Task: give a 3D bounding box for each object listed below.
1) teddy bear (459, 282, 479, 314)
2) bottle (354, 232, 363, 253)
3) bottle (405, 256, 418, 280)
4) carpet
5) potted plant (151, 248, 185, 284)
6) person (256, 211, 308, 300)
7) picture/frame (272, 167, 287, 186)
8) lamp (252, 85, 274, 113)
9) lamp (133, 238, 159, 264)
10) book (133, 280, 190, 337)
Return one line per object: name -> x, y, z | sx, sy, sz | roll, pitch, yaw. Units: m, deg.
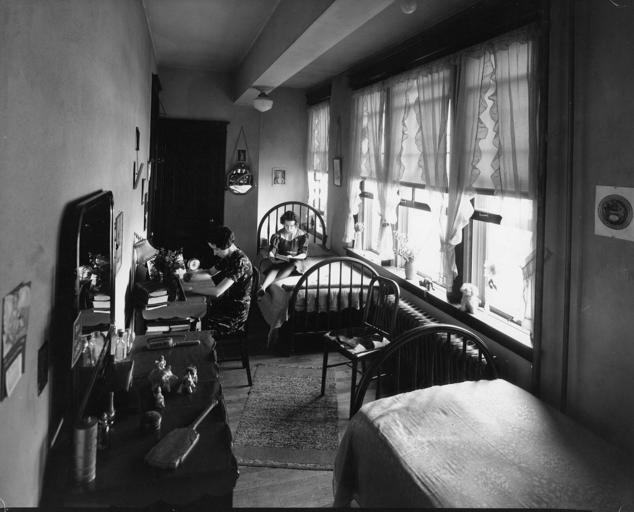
teddy bear -> 0.940, 0.265, 2.909 | 0.109, 0.185, 0.155 | 2, -7, 44
bottle -> 0.417, -0.155, 4.778 | 0.092, 0.206, 0.123 | 2, 8, 6
bottle -> 0.721, 0.093, 3.662 | 0.078, 0.190, 0.055 | 3, 8, 15
carpet -> -0.171, 0.987, 2.871 | 0.618, 0.030, 0.990 | 2, 10, -1
potted plant -> -1.069, 0.067, 3.419 | 0.223, 0.283, 0.192 | -1, -3, -9
person -> -0.329, -0.044, 4.638 | 0.450, 0.745, 0.897 | 1, 9, -3
picture/frame -> -0.506, -1.049, 6.194 | 0.192, 0.272, 0.033 | 0, 13, -20
lamp -> -0.533, -1.527, 4.603 | 0.151, 0.200, 0.389 | 0, 10, -9
lamp -> -1.339, -0.032, 3.633 | 0.137, 0.195, 0.260 | -17, 14, -5
book -> -0.991, 0.320, 3.032 | 0.339, 0.153, 0.285 | -5, 17, -23
